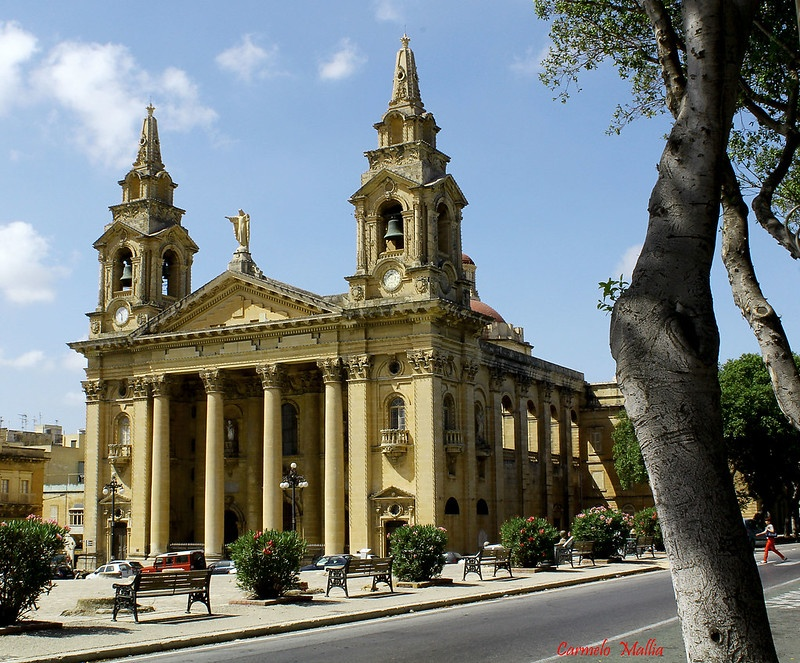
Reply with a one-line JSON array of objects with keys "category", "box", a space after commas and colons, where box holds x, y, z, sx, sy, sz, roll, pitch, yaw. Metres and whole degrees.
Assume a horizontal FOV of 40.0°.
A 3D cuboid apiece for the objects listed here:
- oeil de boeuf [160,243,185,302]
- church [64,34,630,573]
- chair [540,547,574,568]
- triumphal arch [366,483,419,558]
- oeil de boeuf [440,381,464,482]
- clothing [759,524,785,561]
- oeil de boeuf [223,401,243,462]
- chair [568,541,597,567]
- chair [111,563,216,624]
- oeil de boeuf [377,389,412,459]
[{"category": "oeil de boeuf", "box": [-12.630, -3.568, 61.232, 1.167, 2.830, 1.029, -6, 12, -8]}, {"category": "church", "box": [-0.167, 2.031, 68.386, 24.371, 23.514, 36.788, -6, -12, 21]}, {"category": "chair", "box": [5.656, 8.127, 39.689, 0.622, 0.817, 2.699, -12, -20, 21]}, {"category": "triumphal arch", "box": [-0.259, 8.284, 48.626, 2.108, 2.911, 0.775, -13, -20, 23]}, {"category": "oeil de boeuf", "box": [2.406, 4.635, 50.169, 0.732, 3.804, 1.533, -9, -18, 12]}, {"category": "clothing", "box": [14.133, 7.883, 41.652, 1.184, 1.583, 0.656, 4, -13, -8]}, {"category": "oeil de boeuf", "box": [-8.881, 5.270, 57.686, 1.315, 2.877, 0.373, 7, -21, -26]}, {"category": "chair", "box": [7.158, 8.611, 42.893, 0.573, 0.952, 1.358, -9, -18, 28]}, {"category": "chair", "box": [-5.389, 5.958, 25.150, 0.922, 1.090, 2.454, -5, -11, 31]}, {"category": "oeil de boeuf", "box": [-0.277, 4.182, 49.290, 1.154, 2.802, 1.162, 5, -20, -27]}]
